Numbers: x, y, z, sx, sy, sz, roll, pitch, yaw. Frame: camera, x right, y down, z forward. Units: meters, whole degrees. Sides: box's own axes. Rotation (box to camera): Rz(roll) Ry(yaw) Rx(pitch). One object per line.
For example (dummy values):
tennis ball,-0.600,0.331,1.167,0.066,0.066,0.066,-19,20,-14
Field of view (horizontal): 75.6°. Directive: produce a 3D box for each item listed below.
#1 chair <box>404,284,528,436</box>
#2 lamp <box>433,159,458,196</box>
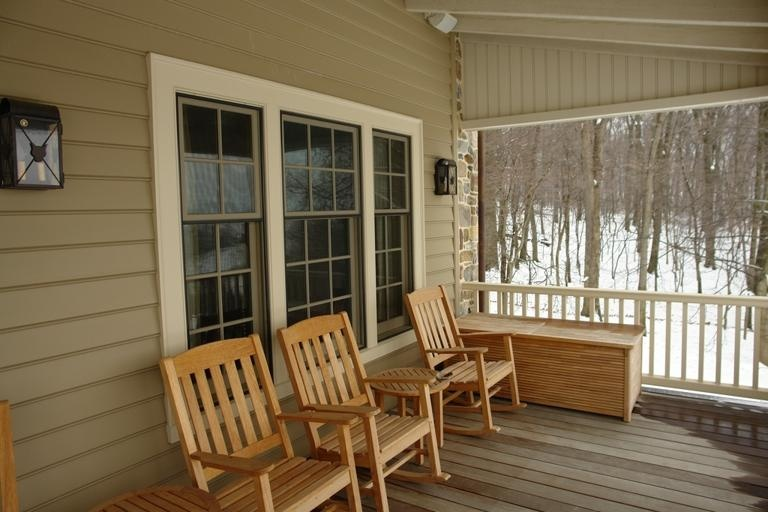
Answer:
chair,0.851,0.978,5.568,1.447,1.780,1.252,-4,0,34
lamp,0.688,-0.906,5.669,0.276,0.461,0.491,0,0,23
